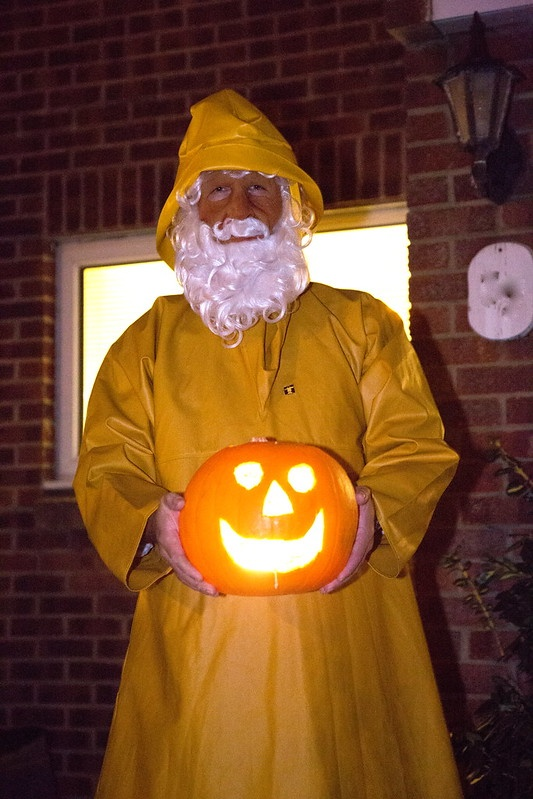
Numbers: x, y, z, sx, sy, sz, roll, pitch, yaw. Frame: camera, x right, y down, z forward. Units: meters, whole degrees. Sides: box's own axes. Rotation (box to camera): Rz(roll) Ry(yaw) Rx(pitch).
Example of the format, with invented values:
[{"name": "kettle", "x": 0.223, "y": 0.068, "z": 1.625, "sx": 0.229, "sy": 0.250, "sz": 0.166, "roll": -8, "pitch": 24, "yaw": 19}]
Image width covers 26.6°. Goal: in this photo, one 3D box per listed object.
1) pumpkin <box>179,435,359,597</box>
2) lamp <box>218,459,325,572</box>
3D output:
[{"name": "pumpkin", "x": -0.025, "y": 0.261, "z": 2.339, "sx": 0.330, "sy": 0.315, "sz": 0.286, "roll": 2, "pitch": 75, "yaw": -18}, {"name": "lamp", "x": 0.012, "y": 0.237, "z": 2.215, "sx": 0.208, "sy": 0.123, "sz": 0.190, "roll": 1, "pitch": 49, "yaw": -1}]
